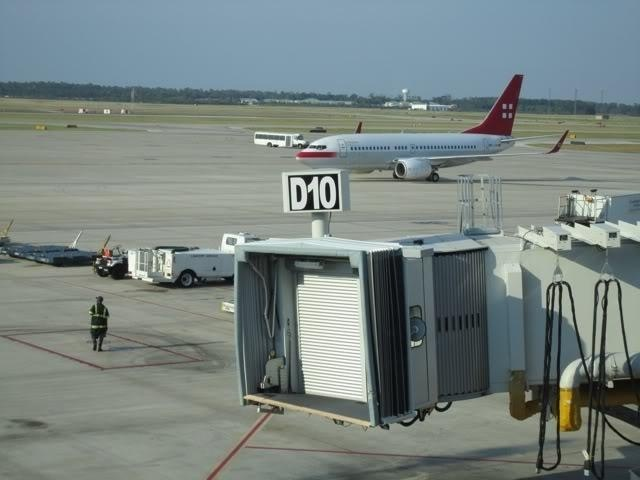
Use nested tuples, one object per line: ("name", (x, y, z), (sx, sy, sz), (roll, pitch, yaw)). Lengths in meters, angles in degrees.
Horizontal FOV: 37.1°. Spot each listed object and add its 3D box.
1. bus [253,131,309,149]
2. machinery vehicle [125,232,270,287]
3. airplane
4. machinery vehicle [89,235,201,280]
("bus", (-6.738, -13.799, 133.551), (9.694, 2.257, 2.865), (4, 9, 35))
("machinery vehicle", (-5.785, 0.984, 39.443), (4.987, 1.839, 3.059), (-3, 6, -28))
("airplane", (8.646, -8.938, 78.319), (23.026, 9.117, 4.791), (-8, 16, -43))
("machinery vehicle", (-7.537, 1.073, 41.833), (4.569, 1.769, 2.337), (3, -8, -16))
